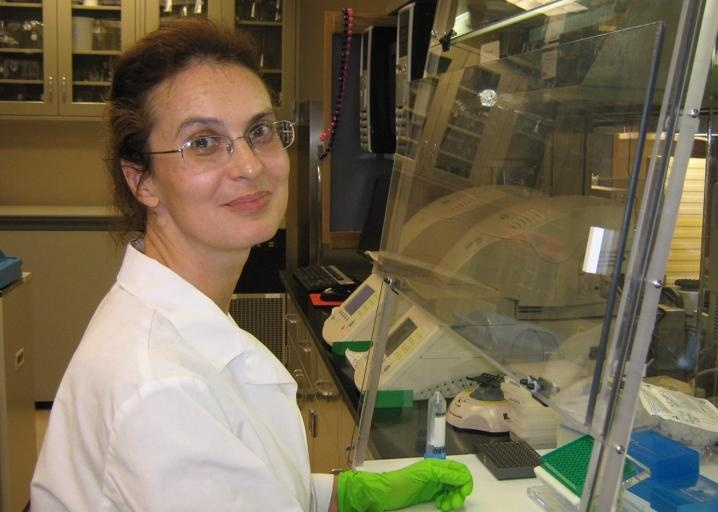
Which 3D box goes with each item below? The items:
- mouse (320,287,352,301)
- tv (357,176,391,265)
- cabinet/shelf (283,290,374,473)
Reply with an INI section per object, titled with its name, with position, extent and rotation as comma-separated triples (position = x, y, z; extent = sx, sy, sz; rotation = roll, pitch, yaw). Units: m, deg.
[mouse]
position = -0.094, 0.161, 2.471
extent = 0.109, 0.038, 0.059
rotation = -3, 9, -15
[tv]
position = 0.072, -0.171, 2.693
extent = 0.085, 0.350, 0.324
rotation = 9, 9, -8
[cabinet/shelf]
position = -0.085, 0.393, 1.799
extent = 0.205, 0.546, 0.634
rotation = -2, 10, -11
